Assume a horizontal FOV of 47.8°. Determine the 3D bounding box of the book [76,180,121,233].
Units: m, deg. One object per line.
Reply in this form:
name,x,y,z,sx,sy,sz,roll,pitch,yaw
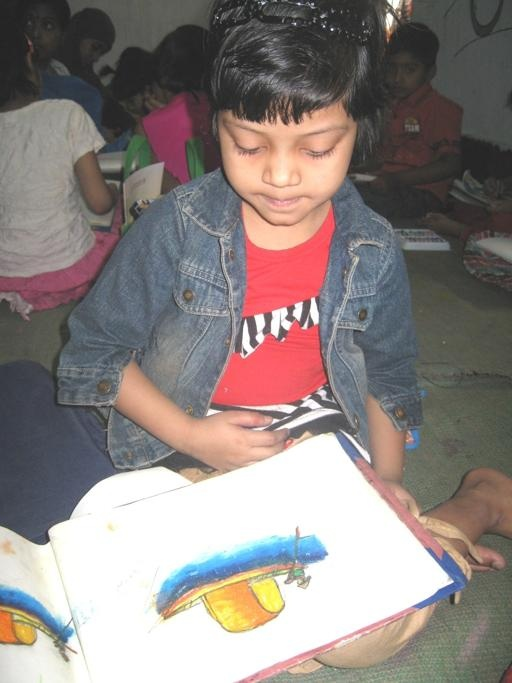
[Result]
book,-0.706,-0.603,2.585,0.208,0.275,0.129,4,4,-7
